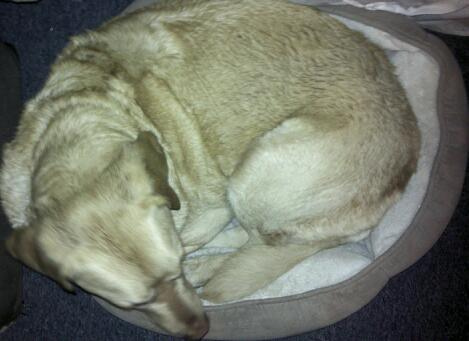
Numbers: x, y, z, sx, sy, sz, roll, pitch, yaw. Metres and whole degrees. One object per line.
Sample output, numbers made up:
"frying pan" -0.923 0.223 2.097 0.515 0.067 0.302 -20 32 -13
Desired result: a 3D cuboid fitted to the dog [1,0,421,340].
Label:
"dog" -0.115 -0.044 2.710 1.390 0.600 1.128 -38 68 -19
